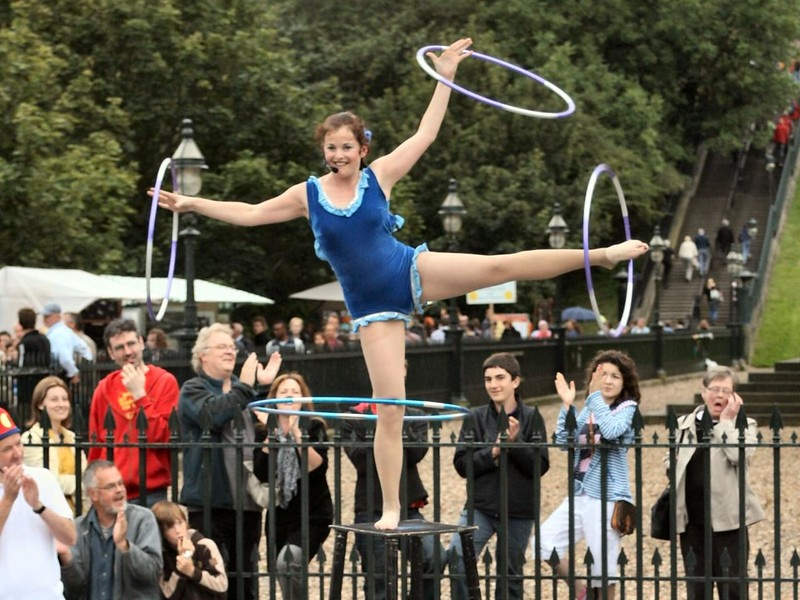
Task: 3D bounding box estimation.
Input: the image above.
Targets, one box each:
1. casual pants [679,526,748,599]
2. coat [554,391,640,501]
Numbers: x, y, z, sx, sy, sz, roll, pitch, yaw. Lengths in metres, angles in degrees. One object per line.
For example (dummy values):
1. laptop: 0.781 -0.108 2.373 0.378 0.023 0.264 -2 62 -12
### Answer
1. casual pants: 7.134 5.828 53.965 1.817 1.951 0.474 -6 -29 11
2. coat: 4.398 3.382 54.382 1.769 2.320 1.681 20 -22 -40
